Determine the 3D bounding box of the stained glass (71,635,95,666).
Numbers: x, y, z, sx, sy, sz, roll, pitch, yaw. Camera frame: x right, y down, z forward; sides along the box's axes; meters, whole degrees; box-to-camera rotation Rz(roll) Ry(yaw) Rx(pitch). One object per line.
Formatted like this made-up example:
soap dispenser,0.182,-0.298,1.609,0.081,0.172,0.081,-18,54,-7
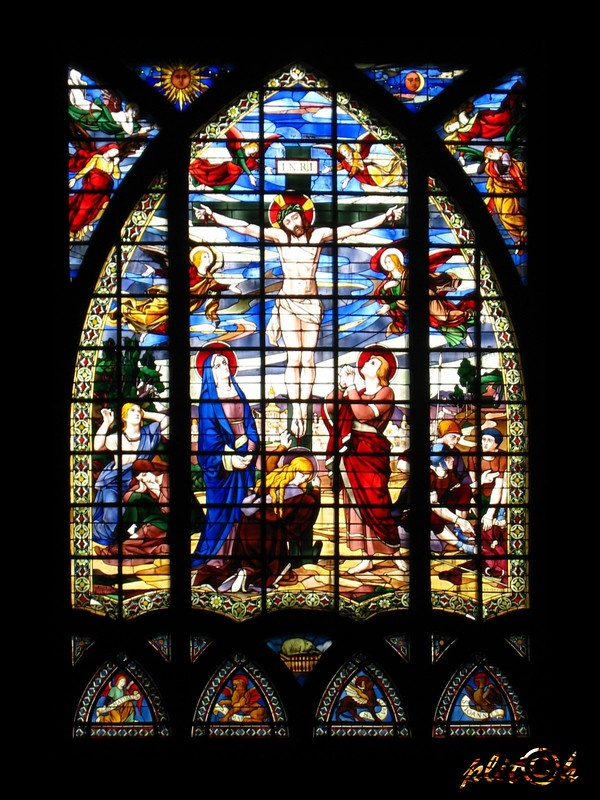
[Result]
stained glass,-1.672,1.928,15.312,0.224,0.302,0.034,2,-11,-8

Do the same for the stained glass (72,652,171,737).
stained glass,-1.376,2.280,15.315,0.620,0.562,0.026,0,-3,4

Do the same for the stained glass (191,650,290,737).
stained glass,-0.477,2.281,15.342,0.631,0.588,0.027,-1,-7,3

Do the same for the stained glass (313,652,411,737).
stained glass,0.463,2.291,15.358,0.637,0.571,0.024,1,-17,-5

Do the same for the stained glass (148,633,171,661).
stained glass,-1.085,1.905,15.346,0.194,0.224,0.058,-2,-5,10

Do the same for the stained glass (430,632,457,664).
stained glass,1.093,1.922,15.408,0.221,0.309,0.031,2,-13,-3

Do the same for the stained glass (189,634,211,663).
stained glass,-0.775,1.915,15.361,0.156,0.188,0.025,21,-12,-2

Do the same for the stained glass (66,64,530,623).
stained glass,-0.092,-0.286,15.532,4.197,5.047,0.228,0,-3,-4

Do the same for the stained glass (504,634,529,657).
stained glass,1.654,1.897,15.432,0.147,0.209,0.016,7,-8,3

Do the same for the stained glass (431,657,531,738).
stained glass,1.378,2.317,15.386,0.588,0.519,0.021,-1,-4,1
